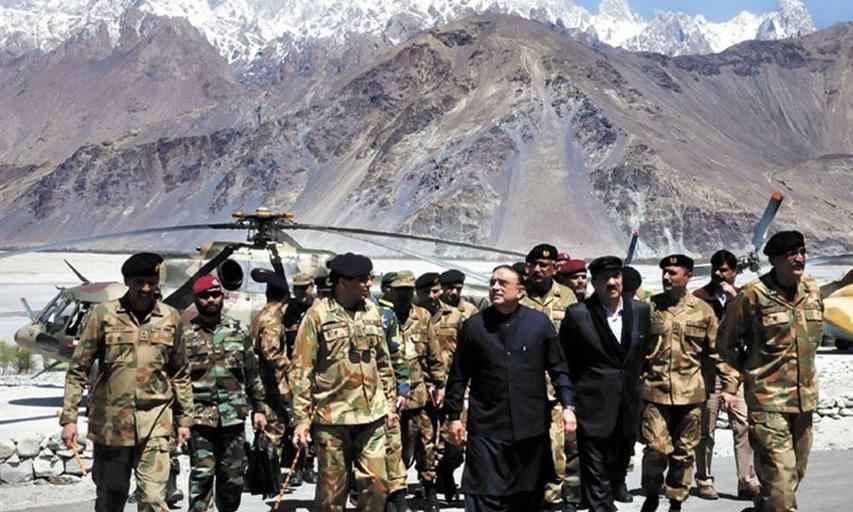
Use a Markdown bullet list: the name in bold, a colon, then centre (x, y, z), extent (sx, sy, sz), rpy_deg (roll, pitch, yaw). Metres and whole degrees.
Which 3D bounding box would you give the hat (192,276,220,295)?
- **hat**: centre (-3.251, 0.402, 12.898), extent (0.343, 0.298, 0.264), rpy_deg (-3, -10, 21)
